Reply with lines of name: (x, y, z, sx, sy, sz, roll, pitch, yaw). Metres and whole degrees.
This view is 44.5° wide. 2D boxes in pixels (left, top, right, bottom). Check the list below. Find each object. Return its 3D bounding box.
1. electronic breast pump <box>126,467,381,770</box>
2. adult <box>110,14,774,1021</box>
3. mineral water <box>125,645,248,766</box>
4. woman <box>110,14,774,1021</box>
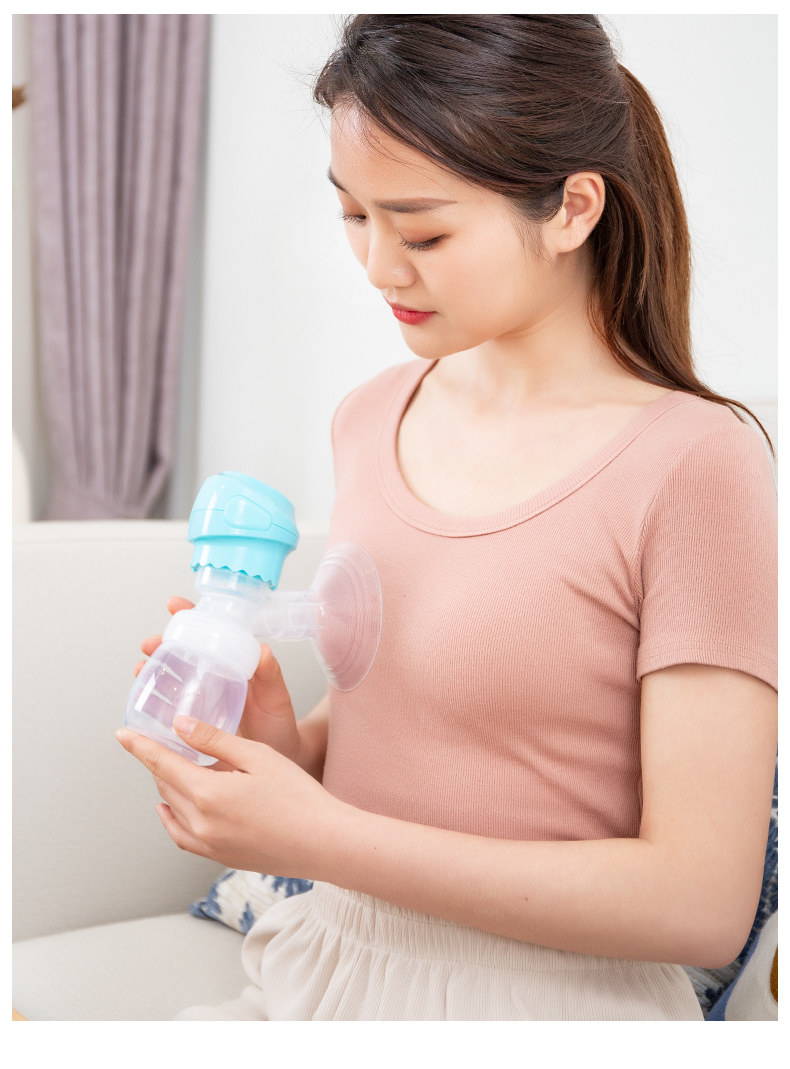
electronic breast pump: (-0.103, 0.063, 0.718, 0.155, 0.208, 0.118, 13, -8, -6)
adult: (0.084, -0.057, 0.701, 0.415, 0.610, 0.392, 8, 17, 21)
mineral water: (-0.143, 0.118, 0.667, 0.068, 0.090, 0.048, 30, -9, -12)
woman: (0.103, 0.001, 1.153, 0.739, 1.051, 0.664, -1, 6, -22)
